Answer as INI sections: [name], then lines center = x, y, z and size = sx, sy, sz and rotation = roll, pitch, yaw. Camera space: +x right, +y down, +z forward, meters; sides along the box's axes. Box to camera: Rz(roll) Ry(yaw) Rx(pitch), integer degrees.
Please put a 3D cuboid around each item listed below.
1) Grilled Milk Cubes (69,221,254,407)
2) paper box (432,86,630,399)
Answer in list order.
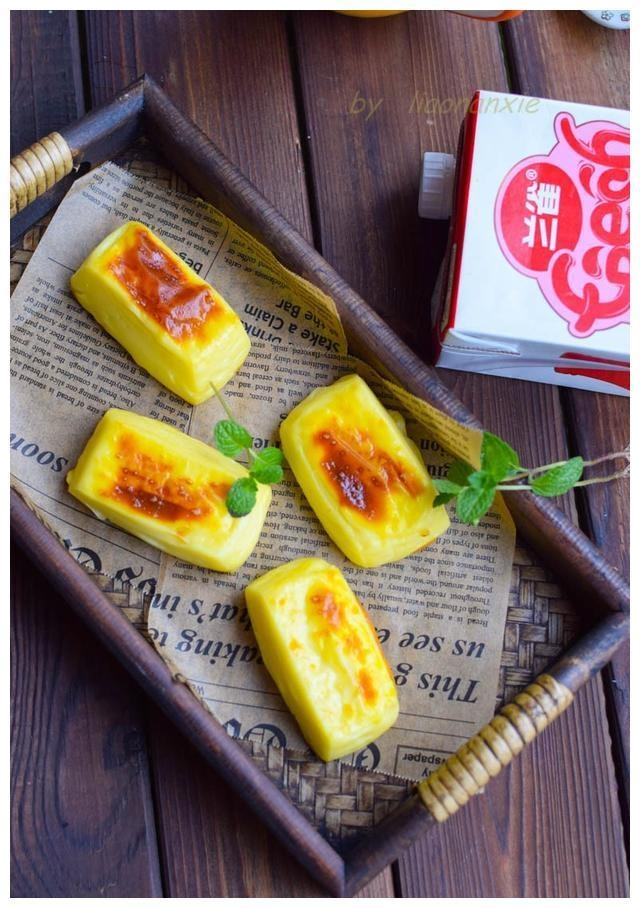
[Grilled Milk Cubes]
center = -0.175, -0.150, 0.951
size = 0.235, 0.077, 0.144
rotation = 43, 83, -10
[paper box]
center = 0.221, -0.228, 0.952
size = 0.271, 0.170, 0.279
rotation = 8, 88, -2
